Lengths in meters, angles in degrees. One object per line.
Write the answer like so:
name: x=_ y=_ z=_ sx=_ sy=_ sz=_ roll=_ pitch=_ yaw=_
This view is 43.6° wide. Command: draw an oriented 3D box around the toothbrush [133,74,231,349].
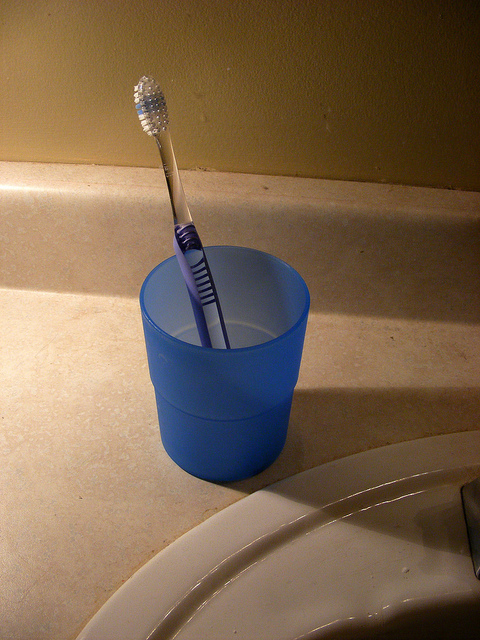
toothbrush: x=-0.039 y=-0.074 z=0.380 sx=0.032 sy=0.172 sz=0.179 roll=-9 pitch=43 yaw=-6

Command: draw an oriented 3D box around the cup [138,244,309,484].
cup: x=-0.015 y=0.030 z=0.363 sx=0.073 sy=0.114 sz=0.094 roll=-9 pitch=38 yaw=-11
